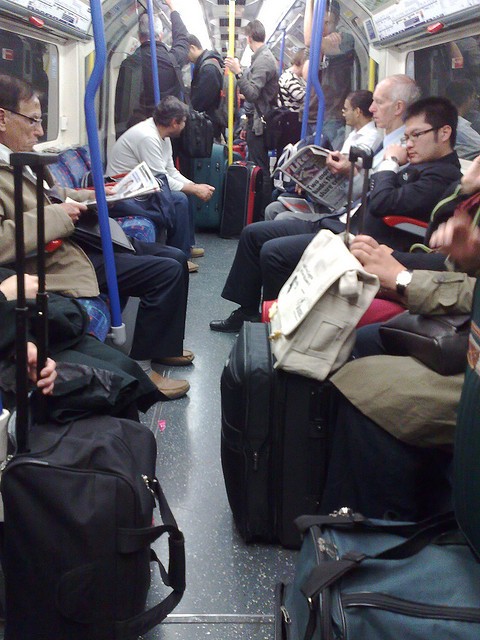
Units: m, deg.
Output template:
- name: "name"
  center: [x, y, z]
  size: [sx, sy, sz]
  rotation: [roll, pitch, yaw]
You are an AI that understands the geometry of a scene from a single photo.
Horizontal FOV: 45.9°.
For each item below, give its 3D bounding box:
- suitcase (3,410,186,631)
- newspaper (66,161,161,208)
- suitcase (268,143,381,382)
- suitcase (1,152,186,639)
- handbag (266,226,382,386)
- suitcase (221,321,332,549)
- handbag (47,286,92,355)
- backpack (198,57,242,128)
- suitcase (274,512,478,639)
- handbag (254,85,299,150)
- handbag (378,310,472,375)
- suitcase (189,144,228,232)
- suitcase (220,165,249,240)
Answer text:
- name: "suitcase"
  center: [-0.304, 0.409, 1.242]
  size: [0.357, 0.352, 0.406]
  rotation: [0, 18, -7]
- name: "newspaper"
  center: [-0.534, -0.673, 2.772]
  size: [0.343, 0.171, 0.458]
  rotation: [-22, 20, -4]
- name: "suitcase"
  center: [0.209, -0.048, 1.591]
  size: [0.250, 0.362, 0.406]
  rotation: [0, 18, -6]
- name: "suitcase"
  center: [-0.321, 0.231, 1.203]
  size: [0.404, 1.120, 0.446]
  rotation: [0, 17, -6]
- name: "handbag"
  center: [0.231, -0.050, 1.632]
  size: [0.211, 0.325, 0.432]
  rotation: [18, 18, -7]
- name: "suitcase"
  center: [0.090, 0.372, 2.002]
  size: [0.443, 0.905, 0.641]
  rotation: [1, 7, 0]
- name: "handbag"
  center: [-0.543, 0.008, 1.812]
  size: [0.138, 0.080, 0.180]
  rotation: [-8, 12, -2]
- name: "backpack"
  center: [-0.137, -2.886, 7.296]
  size: [0.468, 0.730, 0.367]
  rotation: [-15, 16, -28]
- name: "suitcase"
  center: [0.231, 0.439, 0.957]
  size: [0.304, 0.119, 0.236]
  rotation: [-2, 3, 0]
- name: "handbag"
  center: [0.441, -2.219, 6.051]
  size: [0.360, 0.723, 0.478]
  rotation: [16, 28, 32]
- name: "handbag"
  center: [0.458, 0.048, 1.404]
  size: [0.159, 0.062, 0.165]
  rotation: [-6, 24, 25]
- name: "suitcase"
  center: [-0.325, -1.393, 5.831]
  size: [0.401, 1.127, 0.709]
  rotation: [4, 26, 2]
- name: "suitcase"
  center: [-0.058, -1.208, 5.845]
  size: [0.331, 0.769, 0.219]
  rotation: [6, 18, 11]
